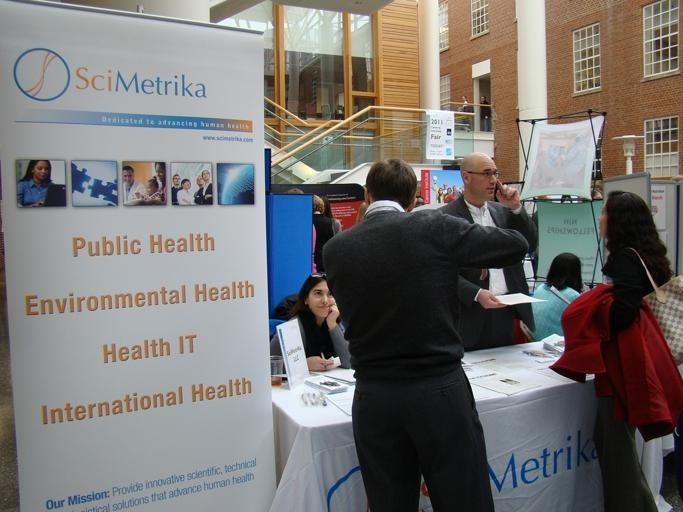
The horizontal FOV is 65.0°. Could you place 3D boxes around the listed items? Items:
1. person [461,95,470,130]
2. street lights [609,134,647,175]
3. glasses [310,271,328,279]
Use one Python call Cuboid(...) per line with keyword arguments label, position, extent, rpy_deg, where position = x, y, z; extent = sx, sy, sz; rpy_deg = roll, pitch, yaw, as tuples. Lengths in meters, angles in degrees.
Cuboid(label="person", position=(3.039, -3.392, 13.101), extent=(0.246, 0.764, 0.972), rpy_deg=(-3, 4, 14))
Cuboid(label="street lights", position=(3.111, -1.039, 5.813), extent=(0.302, 0.447, 0.311), rpy_deg=(3, 3, 30))
Cuboid(label="glasses", position=(-0.132, 0.110, 2.986), extent=(0.090, 0.036, 0.082), rpy_deg=(0, 2, -1))
